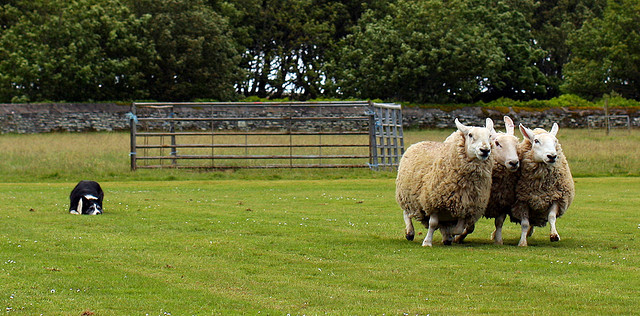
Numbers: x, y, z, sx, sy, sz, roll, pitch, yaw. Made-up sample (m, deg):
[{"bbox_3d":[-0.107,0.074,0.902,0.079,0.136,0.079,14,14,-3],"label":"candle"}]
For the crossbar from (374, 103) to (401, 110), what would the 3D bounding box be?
[{"bbox_3d":[5.311,-4.286,87.750,2.938,0.417,0.352,5,-6,-32],"label":"crossbar"}]
